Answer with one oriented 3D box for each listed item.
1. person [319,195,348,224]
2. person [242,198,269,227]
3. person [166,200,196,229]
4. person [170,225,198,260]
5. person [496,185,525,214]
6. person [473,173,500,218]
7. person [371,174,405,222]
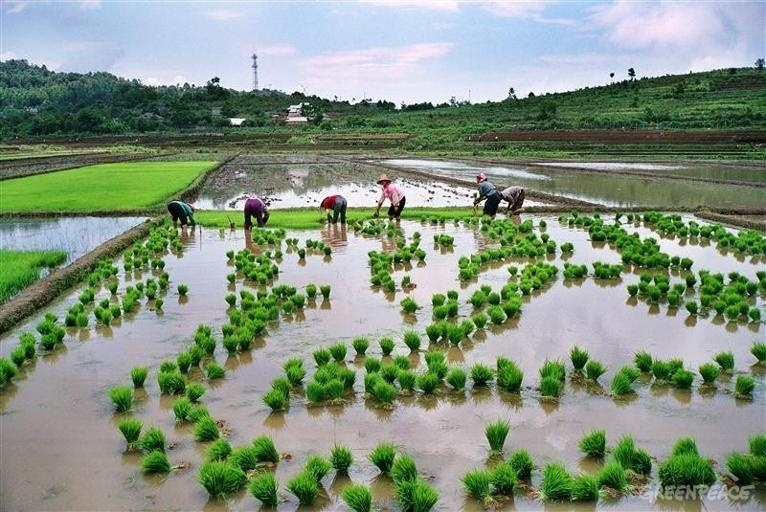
[{"bbox_3d":[-1.673,-1.573,19.292,0.730,0.957,1.602,-7,17,-23],"label":"person"},{"bbox_3d":[-4.066,-1.341,18.428,0.732,0.904,0.536,-5,16,-15],"label":"person"},{"bbox_3d":[-6.511,-1.429,18.542,0.553,1.003,1.675,-2,24,-4],"label":"person"},{"bbox_3d":[-6.086,-0.626,17.519,0.313,0.210,1.816,2,29,-10],"label":"person"},{"bbox_3d":[4.649,-2.012,20.994,1.074,1.041,0.826,3,14,20],"label":"person"},{"bbox_3d":[3.600,-2.005,20.511,1.034,1.760,0.701,19,40,41],"label":"person"},{"bbox_3d":[0.165,-1.920,19.610,0.823,1.582,1.165,5,16,18],"label":"person"}]
